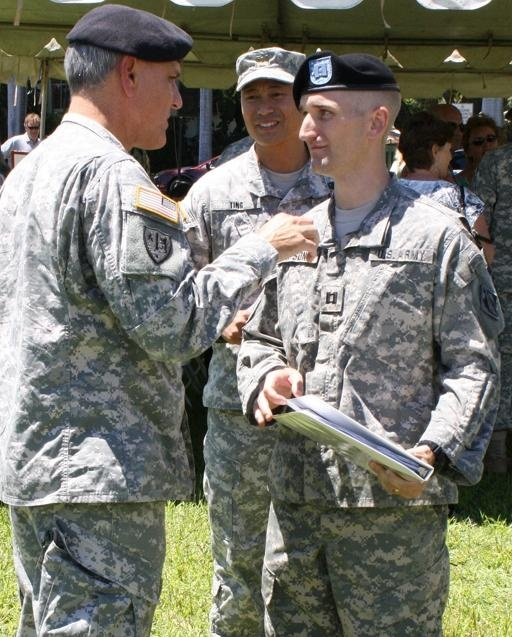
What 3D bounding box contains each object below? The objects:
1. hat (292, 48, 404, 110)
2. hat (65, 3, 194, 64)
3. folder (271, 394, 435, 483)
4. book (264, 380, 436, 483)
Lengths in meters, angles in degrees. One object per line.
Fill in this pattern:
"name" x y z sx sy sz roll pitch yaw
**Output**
"hat" 0.254 -0.655 2.201 0.273 0.094 0.318 -6 -2 37
"hat" -0.296 -0.725 1.986 0.322 0.155 0.185 6 25 16
"folder" 0.188 0.277 1.803 0.226 0.180 0.409 -7 11 -35
"book" 0.185 0.297 1.855 0.416 0.079 0.400 2 -29 48
